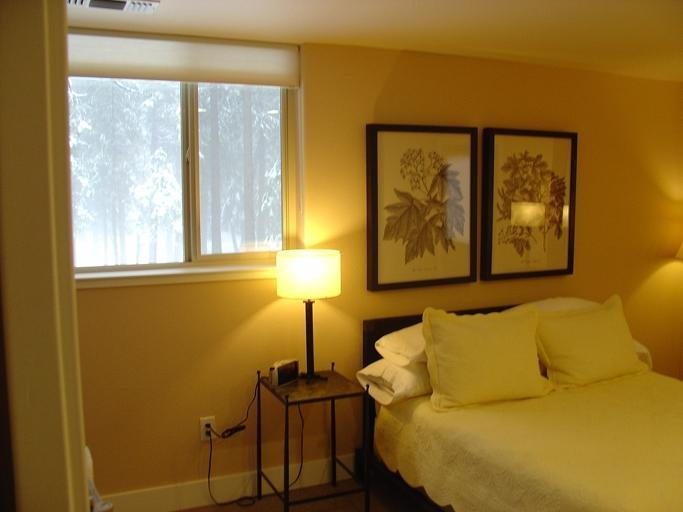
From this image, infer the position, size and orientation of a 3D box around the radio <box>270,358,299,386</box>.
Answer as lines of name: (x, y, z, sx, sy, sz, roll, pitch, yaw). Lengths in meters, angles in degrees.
radio: (-0.269, 0.540, 2.723, 0.087, 0.123, 0.152, 3, 5, 42)

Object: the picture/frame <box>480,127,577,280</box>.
picture/frame: (1.069, -0.331, 3.368, 0.754, 1.050, 0.075, -3, 8, -25)

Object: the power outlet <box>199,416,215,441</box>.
power outlet: (-0.651, 0.837, 2.817, 0.075, 0.113, 0.017, -6, 10, -25)

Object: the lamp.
lamp: (-0.151, 0.289, 2.781, 0.305, 0.643, 0.290, -3, 9, -7)

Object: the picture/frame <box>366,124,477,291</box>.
picture/frame: (0.405, -0.288, 3.093, 0.736, 1.068, 0.066, -5, 11, -24)

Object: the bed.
bed: (0.440, 0.620, 2.425, 0.851, 0.429, 0.905, -2, 4, -15)
